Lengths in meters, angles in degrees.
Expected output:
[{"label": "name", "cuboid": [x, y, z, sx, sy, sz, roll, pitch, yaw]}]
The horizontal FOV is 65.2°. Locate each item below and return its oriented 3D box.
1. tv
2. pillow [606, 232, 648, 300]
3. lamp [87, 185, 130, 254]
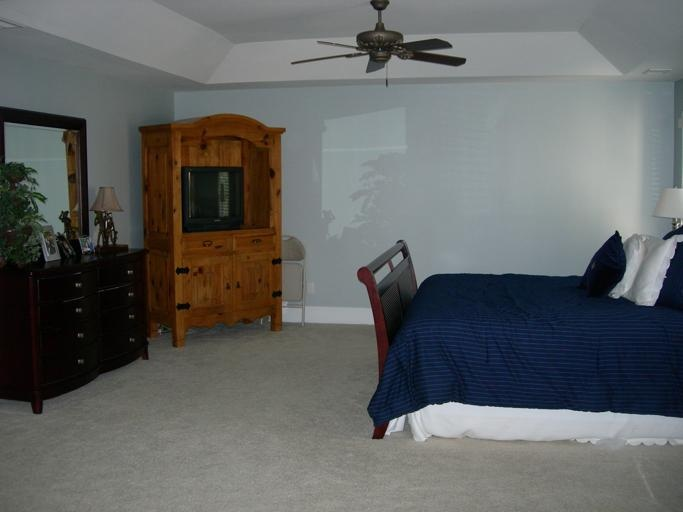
[{"label": "tv", "cuboid": [-1.561, -0.690, 6.357, 0.797, 0.779, 0.441, -3, 18, -25]}, {"label": "pillow", "cuboid": [2.308, 0.087, 4.306, 0.133, 0.450, 0.462, 13, 0, -2]}, {"label": "lamp", "cuboid": [-2.462, -0.380, 5.569, 0.349, 0.660, 0.336, 1, 1, 0]}]
